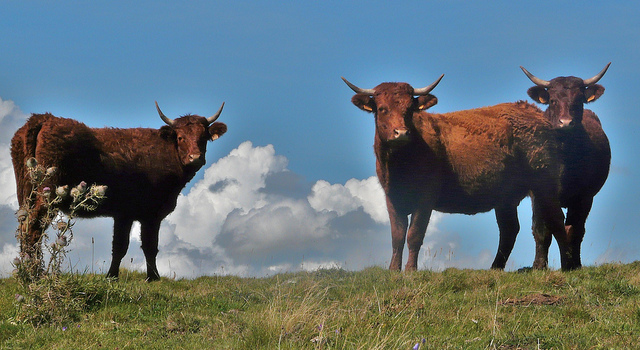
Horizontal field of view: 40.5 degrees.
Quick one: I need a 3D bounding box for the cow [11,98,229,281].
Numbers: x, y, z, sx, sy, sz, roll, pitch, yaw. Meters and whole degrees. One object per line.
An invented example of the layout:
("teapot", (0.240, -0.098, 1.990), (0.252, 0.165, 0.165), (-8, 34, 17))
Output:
("cow", (-6.481, 0.439, 27.785), (2.601, 5.418, 7.968), (-1, -2, 39))
